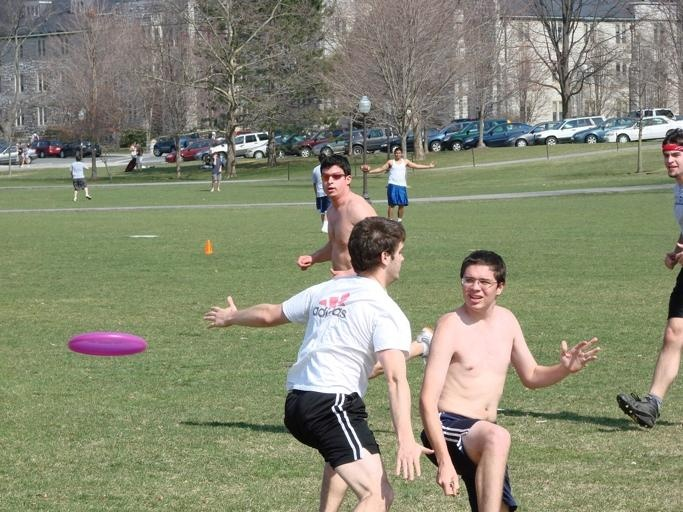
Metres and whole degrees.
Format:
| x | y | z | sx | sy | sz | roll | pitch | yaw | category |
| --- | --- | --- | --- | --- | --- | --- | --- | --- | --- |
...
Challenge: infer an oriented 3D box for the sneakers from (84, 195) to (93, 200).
| x | y | z | sx | sy | sz | roll | pitch | yaw | category |
| --- | --- | --- | --- | --- | --- | --- | --- | --- | --- |
| -9.266 | -2.188 | 39.926 | 0.210 | 0.238 | 0.563 | -2 | -2 | -32 | sneakers |

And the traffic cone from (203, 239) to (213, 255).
| x | y | z | sx | sy | sz | roll | pitch | yaw | category |
| --- | --- | --- | --- | --- | --- | --- | --- | --- | --- |
| -2.623 | -0.167 | 21.297 | 0.284 | 0.306 | 0.636 | 0 | 4 | -6 | traffic cone |
